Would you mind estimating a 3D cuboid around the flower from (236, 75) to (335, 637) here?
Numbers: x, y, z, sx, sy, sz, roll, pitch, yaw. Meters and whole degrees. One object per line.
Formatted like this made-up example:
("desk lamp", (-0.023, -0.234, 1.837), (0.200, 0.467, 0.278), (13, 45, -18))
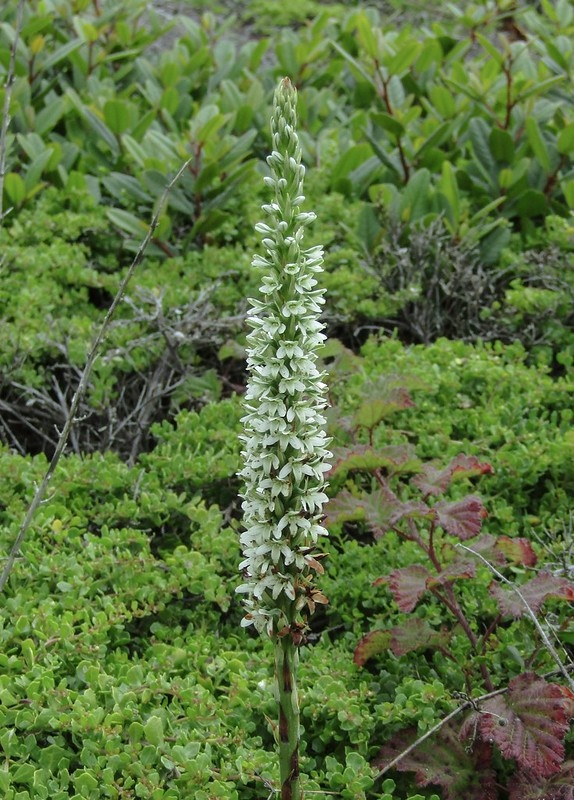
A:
("flower", (-0.011, -0.084, 2.081), (0.226, 1.314, 0.146), (-1, 6, 2))
